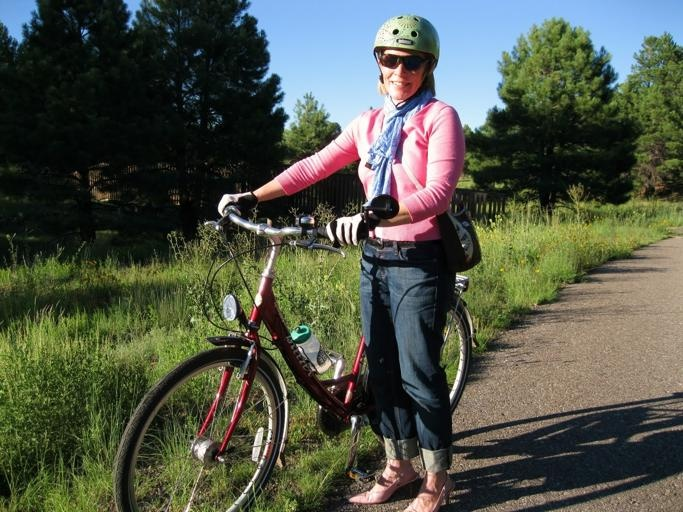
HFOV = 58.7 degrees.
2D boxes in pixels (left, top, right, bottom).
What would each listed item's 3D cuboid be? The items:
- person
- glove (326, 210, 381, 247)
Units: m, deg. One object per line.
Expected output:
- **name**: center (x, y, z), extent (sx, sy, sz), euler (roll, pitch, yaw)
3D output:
- **person**: center (0.343, 0.089, 4.977), extent (1.266, 3.922, 0.935), euler (3, 12, 13)
- **glove**: center (0.067, -0.202, 4.532), extent (0.242, 0.159, 0.277), euler (-11, 7, 23)
